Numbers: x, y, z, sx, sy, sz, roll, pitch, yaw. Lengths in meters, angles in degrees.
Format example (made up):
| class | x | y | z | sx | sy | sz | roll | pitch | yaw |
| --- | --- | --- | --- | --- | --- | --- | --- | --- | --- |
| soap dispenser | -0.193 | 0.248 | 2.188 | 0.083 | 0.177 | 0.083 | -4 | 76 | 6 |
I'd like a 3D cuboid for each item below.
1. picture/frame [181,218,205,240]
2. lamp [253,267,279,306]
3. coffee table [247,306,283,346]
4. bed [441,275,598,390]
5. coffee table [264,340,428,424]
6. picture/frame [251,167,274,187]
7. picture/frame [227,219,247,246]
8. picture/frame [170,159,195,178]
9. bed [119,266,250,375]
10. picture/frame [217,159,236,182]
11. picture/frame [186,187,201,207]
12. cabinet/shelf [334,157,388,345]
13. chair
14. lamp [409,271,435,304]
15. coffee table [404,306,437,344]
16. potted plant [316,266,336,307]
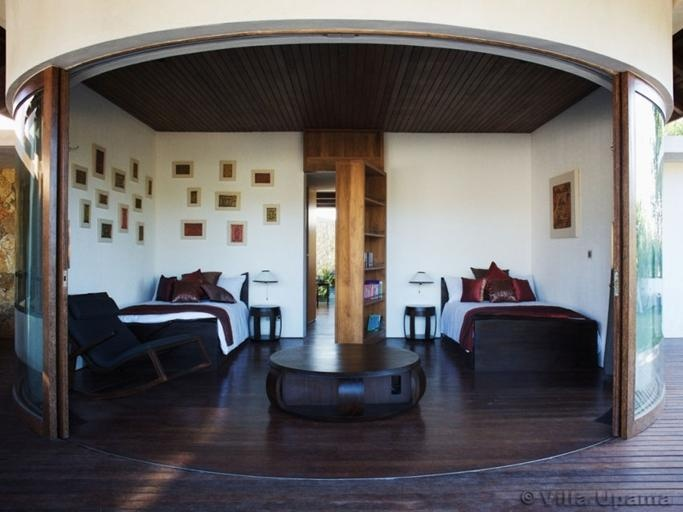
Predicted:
| class | x | y | z | sx | sy | sz | roll | pitch | yaw |
| --- | --- | --- | --- | --- | --- | --- | --- | --- | --- |
| picture/frame | -2.350 | -0.424 | 8.404 | 0.319 | 0.280 | 0.014 | -1 | 0 | 2 |
| lamp | -1.168 | 0.501 | 8.232 | 0.417 | 0.549 | 0.391 | -1 | 8 | -7 |
| coffee table | -1.062 | 1.041 | 8.188 | 0.379 | 0.422 | 0.391 | -4 | -1 | 7 |
| bed | 2.271 | 0.988 | 6.596 | 1.051 | 0.787 | 1.463 | 0 | -2 | 1 |
| coffee table | 0.057 | 1.224 | 5.214 | 1.540 | 0.513 | 0.933 | 0 | 9 | -3 |
| picture/frame | -1.231 | -1.259 | 8.391 | 0.292 | 0.231 | 0.012 | 0 | -1 | -1 |
| picture/frame | -1.644 | -0.354 | 8.400 | 0.399 | 0.553 | 0.019 | 0 | -1 | -1 |
| picture/frame | -2.496 | -1.400 | 8.411 | 0.288 | 0.227 | 0.021 | 0 | -1 | -2 |
| bed | -2.156 | 0.756 | 7.311 | 1.570 | 1.058 | 2.049 | 0 | -2 | -6 |
| picture/frame | -1.806 | -1.391 | 8.404 | 0.335 | 0.438 | 0.030 | -1 | 2 | 1 |
| picture/frame | -2.336 | -0.933 | 8.407 | 0.285 | 0.405 | 0.041 | 0 | 1 | -1 |
| cabinet/shelf | 0.301 | -0.019 | 7.584 | 0.631 | 2.619 | 1.768 | 1 | 8 | 9 |
| chair | -2.199 | 0.899 | 5.664 | 1.269 | 0.964 | 0.979 | -2 | 1 | 16 |
| lamp | 1.283 | 0.513 | 8.351 | 0.400 | 0.529 | 0.304 | 1 | 8 | 9 |
| coffee table | 1.236 | 1.051 | 8.295 | 0.495 | 0.540 | 0.552 | -1 | 3 | 4 |
| potted plant | -0.524 | 0.873 | 14.490 | 0.797 | 0.781 | 1.523 | -1 | 5 | 0 |
